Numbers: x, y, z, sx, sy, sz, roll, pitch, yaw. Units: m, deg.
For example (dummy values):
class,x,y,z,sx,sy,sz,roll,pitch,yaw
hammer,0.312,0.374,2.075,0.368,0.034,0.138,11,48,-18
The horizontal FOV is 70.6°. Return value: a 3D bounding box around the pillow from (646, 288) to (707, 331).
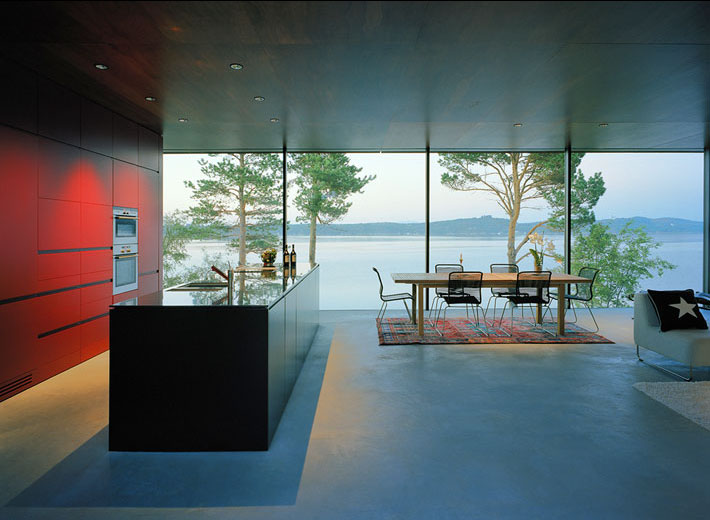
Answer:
class,x,y,z,sx,sy,sz,roll,pitch,yaw
pillow,3.726,0.568,5.789,0.550,0.510,0.165,-3,-22,-3
